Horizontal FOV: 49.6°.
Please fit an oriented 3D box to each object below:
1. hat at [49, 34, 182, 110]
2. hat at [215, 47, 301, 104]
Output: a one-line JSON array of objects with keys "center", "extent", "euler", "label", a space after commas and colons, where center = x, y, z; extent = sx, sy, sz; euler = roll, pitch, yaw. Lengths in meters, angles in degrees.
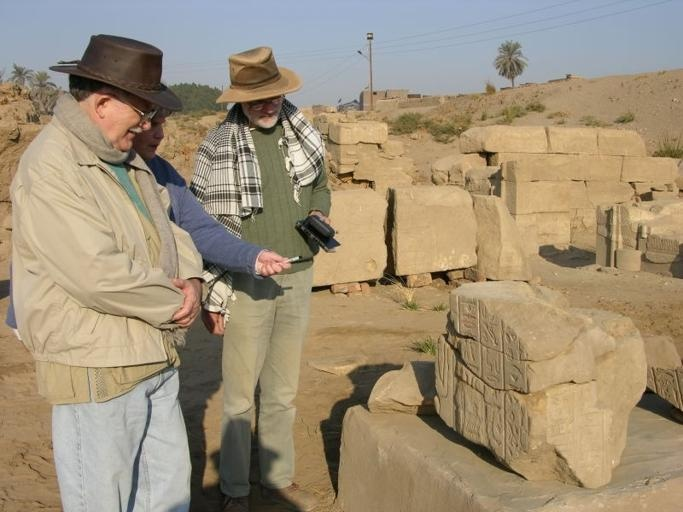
[{"center": [-1.010, -0.866, 3.399], "extent": [0.617, 0.221, 0.477], "euler": [15, 19, 0], "label": "hat"}, {"center": [-0.484, -1.040, 4.165], "extent": [0.527, 0.212, 0.529], "euler": [-23, 29, -22], "label": "hat"}]
